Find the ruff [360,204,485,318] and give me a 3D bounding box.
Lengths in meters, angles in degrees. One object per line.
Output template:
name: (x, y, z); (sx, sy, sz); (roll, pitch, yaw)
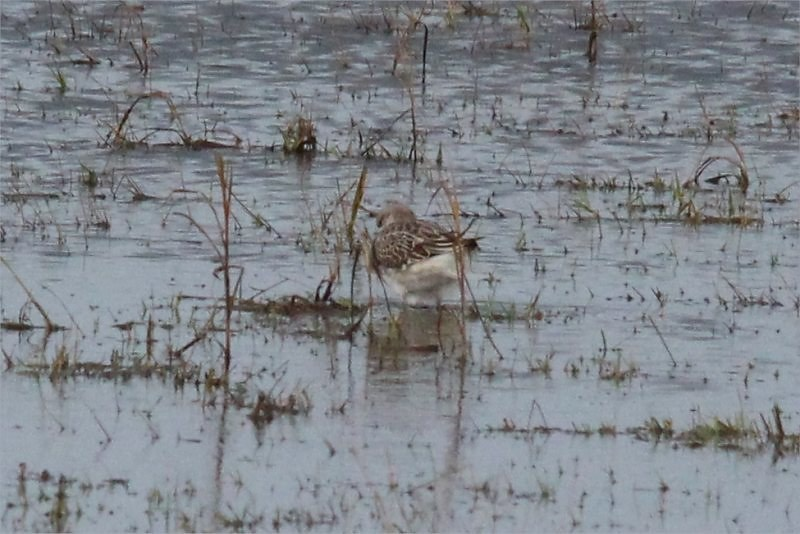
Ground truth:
ruff: (0.274, -0.144, 18.098); (1.018, 1.478, 1.806); (11, -12, -39)
